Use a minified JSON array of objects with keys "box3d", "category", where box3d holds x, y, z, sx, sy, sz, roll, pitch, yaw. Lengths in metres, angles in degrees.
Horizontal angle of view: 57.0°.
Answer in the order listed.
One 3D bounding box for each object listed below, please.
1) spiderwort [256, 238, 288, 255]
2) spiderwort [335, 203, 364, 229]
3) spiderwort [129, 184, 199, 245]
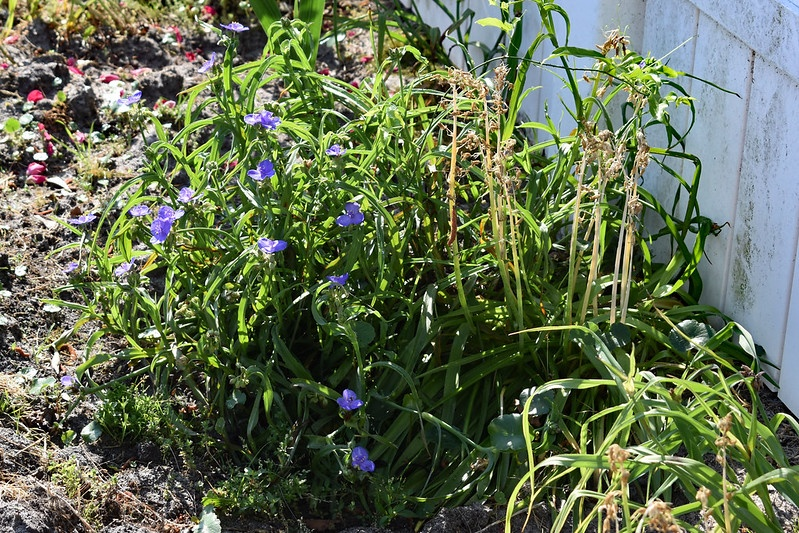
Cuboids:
[{"box3d":[-0.375,-0.061,2.192,0.070,0.030,0.054,-11,66,-24],"category":"spiderwort"},{"box3d":[-0.156,-0.163,2.283,0.080,0.069,0.074,13,18,-18],"category":"spiderwort"},{"box3d":[-0.727,-0.148,2.347,0.164,0.064,0.201,-4,55,-6],"category":"spiderwort"}]
